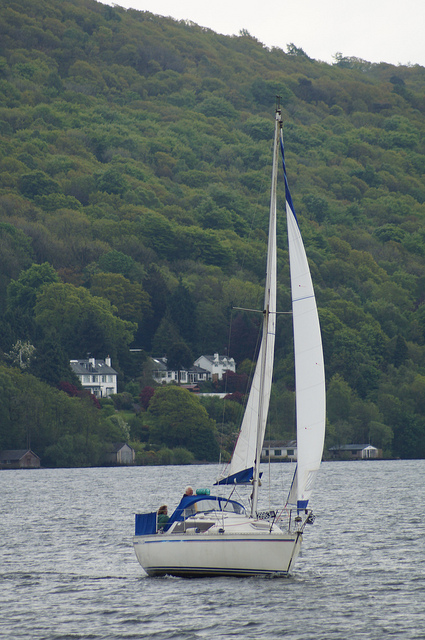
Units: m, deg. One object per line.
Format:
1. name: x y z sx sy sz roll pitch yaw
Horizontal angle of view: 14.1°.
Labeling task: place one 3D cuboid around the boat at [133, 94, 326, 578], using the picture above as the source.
1. boat: 0.737 1.514 63.803 7.415 17.010 3.116 -5 -13 31

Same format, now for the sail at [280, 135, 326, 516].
1. sail: 3.231 1.544 61.064 1.226 14.377 1.014 -6 -3 23
